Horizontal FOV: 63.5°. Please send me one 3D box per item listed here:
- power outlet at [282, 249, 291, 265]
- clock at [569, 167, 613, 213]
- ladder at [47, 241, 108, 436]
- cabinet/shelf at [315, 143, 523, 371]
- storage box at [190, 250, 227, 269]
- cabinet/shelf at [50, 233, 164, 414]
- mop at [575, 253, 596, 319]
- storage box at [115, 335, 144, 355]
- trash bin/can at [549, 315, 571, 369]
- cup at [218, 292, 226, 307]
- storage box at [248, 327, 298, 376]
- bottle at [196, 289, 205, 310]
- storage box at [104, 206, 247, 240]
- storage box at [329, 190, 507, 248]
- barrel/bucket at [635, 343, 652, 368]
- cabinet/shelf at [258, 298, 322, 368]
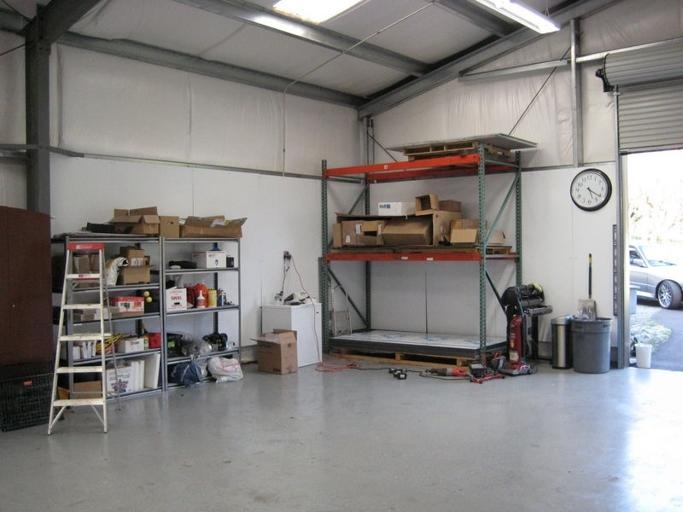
[{"bbox_3d":[-0.897,0.038,9.026,0.079,0.207,0.146,-1,2,23],"label":"power outlet"},{"bbox_3d":[3.630,-0.966,7.975,0.127,0.666,0.627,-2,-4,-42],"label":"clock"},{"bbox_3d":[-2.952,0.809,6.189,0.661,1.950,1.561,-3,5,-23],"label":"ladder"},{"bbox_3d":[1.289,0.036,8.833,3.593,3.548,1.214,1,3,40],"label":"cabinet/shelf"},{"bbox_3d":[-1.793,0.044,7.508,0.459,0.252,0.251,-2,5,-17],"label":"storage box"},{"bbox_3d":[-2.921,0.877,6.189,0.746,2.028,0.678,1,5,-38],"label":"cabinet/shelf"},{"bbox_3d":[3.520,0.434,7.897,0.278,0.916,0.458,1,5,23],"label":"mop"},{"bbox_3d":[-2.588,1.085,6.773,0.211,0.132,0.214,0,0,39],"label":"storage box"},{"bbox_3d":[3.141,1.240,7.903,0.254,0.724,0.167,1,5,18],"label":"trash bin/can"},{"bbox_3d":[-1.643,0.592,7.674,0.159,0.174,0.158,-1,-1,0],"label":"cup"},{"bbox_3d":[-0.978,1.398,7.912,0.538,0.558,0.578,-4,-6,40],"label":"storage box"},{"bbox_3d":[-1.873,0.570,7.375,0.155,0.233,0.131,-5,6,-40],"label":"bottle"},{"bbox_3d":[-2.129,-0.414,7.179,1.636,0.446,0.439,-3,5,-24],"label":"storage box"},{"bbox_3d":[1.007,-0.526,8.548,2.348,0.822,0.655,2,5,28],"label":"storage box"},{"bbox_3d":[4.369,1.442,7.981,0.206,0.355,0.338,2,5,28],"label":"barrel/bucket"},{"bbox_3d":[-0.671,1.184,8.904,0.915,1.290,0.949,0,-1,32],"label":"cabinet/shelf"}]
